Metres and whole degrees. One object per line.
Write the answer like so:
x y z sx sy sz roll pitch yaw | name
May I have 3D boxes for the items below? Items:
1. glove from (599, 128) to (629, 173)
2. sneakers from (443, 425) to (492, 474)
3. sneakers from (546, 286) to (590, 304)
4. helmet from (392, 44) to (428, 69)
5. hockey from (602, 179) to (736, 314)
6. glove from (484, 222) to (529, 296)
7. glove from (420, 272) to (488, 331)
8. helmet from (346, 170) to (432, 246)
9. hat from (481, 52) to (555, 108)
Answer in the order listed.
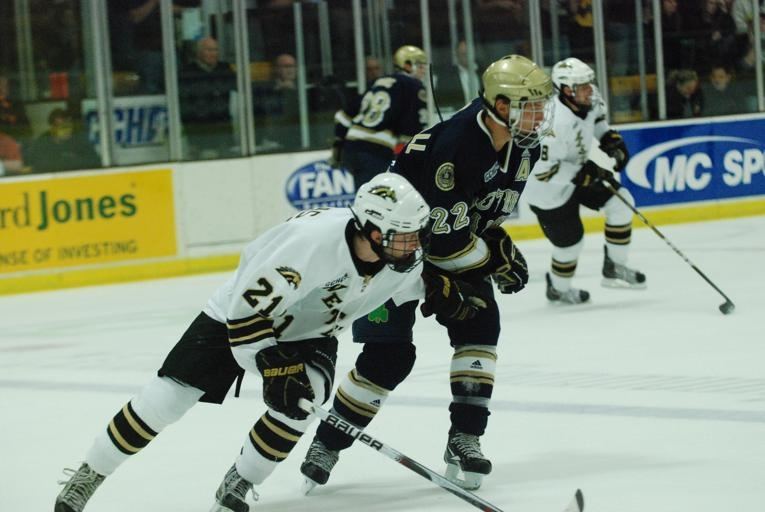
1.873 -0.811 7.903 0.147 0.329 0.233 -17 38 -35 | glove
0.449 1.049 5.280 0.120 0.184 0.336 -2 1 -24 | sneakers
1.445 0.317 7.816 0.347 0.170 0.129 -1 17 15 | sneakers
0.245 -1.789 8.797 0.251 0.209 0.194 -15 39 9 | helmet
2.434 -0.064 8.632 0.184 1.382 0.212 -38 -6 -1 | hockey
0.687 0.035 5.600 0.135 0.364 0.254 -22 11 16 | glove
0.363 0.226 5.223 0.355 0.210 0.100 19 4 -45 | glove
0.050 -0.240 4.940 0.354 0.327 0.300 8 25 0 | helmet
0.736 -0.979 5.483 0.323 0.323 0.269 -3 18 8 | hat
